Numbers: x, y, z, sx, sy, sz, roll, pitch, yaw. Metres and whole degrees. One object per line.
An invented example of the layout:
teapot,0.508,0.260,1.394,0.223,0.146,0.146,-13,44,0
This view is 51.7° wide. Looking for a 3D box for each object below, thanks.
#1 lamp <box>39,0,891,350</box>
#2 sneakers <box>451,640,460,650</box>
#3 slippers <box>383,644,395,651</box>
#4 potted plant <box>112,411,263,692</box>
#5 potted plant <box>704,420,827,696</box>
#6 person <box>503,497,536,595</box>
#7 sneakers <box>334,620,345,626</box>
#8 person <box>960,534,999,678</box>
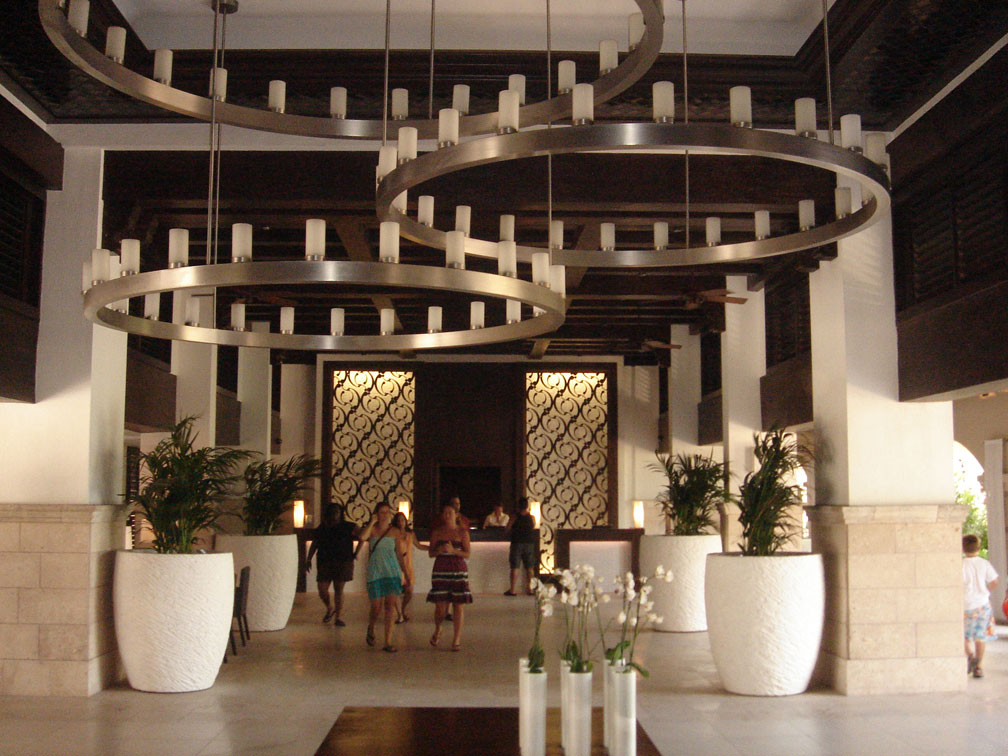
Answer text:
lamp,-0.242,-1.280,7.366,4.617,1.170,2.711,1,-21,-6
sneakers,-0.556,2.933,11.376,0.087,0.108,0.263,0,-11,-2
slippers,-1.269,2.943,11.320,0.128,0.132,0.070,0,-5,1
potted plant,-3.312,1.701,10.730,1.172,2.808,2.334,5,-11,-14
potted plant,2.728,1.778,10.387,1.042,2.612,1.901,-5,-12,31
person,0.247,2.662,16.305,0.486,1.516,0.920,2,-11,0
sneakers,-2.067,3.066,13.010,0.112,0.093,0.266,3,-11,-5
person,4.703,2.268,10.325,0.301,1.409,1.205,-3,-12,25
